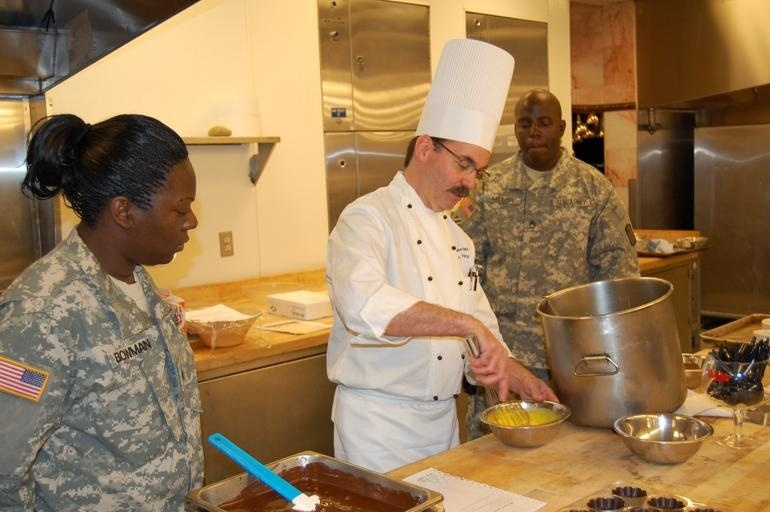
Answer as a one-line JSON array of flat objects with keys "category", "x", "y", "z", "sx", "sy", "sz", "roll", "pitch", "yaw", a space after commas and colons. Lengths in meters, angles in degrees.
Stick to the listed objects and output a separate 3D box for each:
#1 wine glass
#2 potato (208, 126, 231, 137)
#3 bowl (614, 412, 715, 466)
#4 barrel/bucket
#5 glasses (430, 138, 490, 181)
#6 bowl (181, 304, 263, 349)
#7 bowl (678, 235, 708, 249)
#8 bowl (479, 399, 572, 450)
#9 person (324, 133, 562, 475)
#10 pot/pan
[{"category": "wine glass", "x": 1.089, "y": 0.449, "z": 1.803, "sx": 0.167, "sy": 0.247, "sz": 0.174, "roll": 2, "pitch": 15, "yaw": 9}, {"category": "potato", "x": -0.944, "y": -0.701, "z": 3.338, "sx": 0.124, "sy": 0.055, "sz": 0.069, "roll": 3, "pitch": -14, "yaw": 8}, {"category": "bowl", "x": 0.818, "y": 0.543, "z": 1.724, "sx": 0.272, "sy": 0.084, "sz": 0.260, "roll": -6, "pitch": 2, "yaw": 0}, {"category": "barrel/bucket", "x": 0.796, "y": 0.331, "z": 2.014, "sx": 0.484, "sy": 0.371, "sz": 0.438, "roll": -17, "pitch": 6, "yaw": -33}, {"category": "glasses", "x": 0.229, "y": -0.358, "z": 2.027, "sx": 0.055, "sy": 0.177, "sz": 0.176, "roll": -47, "pitch": -22, "yaw": 13}, {"category": "bowl", "x": -0.811, "y": 0.379, "z": 2.912, "sx": 0.370, "sy": 0.126, "sz": 0.400, "roll": -3, "pitch": -5, "yaw": 0}, {"category": "bowl", "x": 2.517, "y": -0.116, "z": 4.808, "sx": 0.142, "sy": 0.060, "sz": 0.161, "roll": -1, "pitch": -5, "yaw": 9}, {"category": "bowl", "x": 0.456, "y": 0.542, "z": 1.863, "sx": 0.275, "sy": 0.084, "sz": 0.259, "roll": -7, "pitch": 2, "yaw": 0}, {"category": "person", "x": 0.177, "y": 0.171, "z": 1.991, "sx": 0.729, "sy": 1.127, "sz": 0.673, "roll": -5, "pitch": 16, "yaw": -17}, {"category": "pot/pan", "x": 0.769, "y": 0.346, "z": 2.024, "sx": 0.457, "sy": 0.371, "sz": 0.443, "roll": -12, "pitch": 0, "yaw": -31}]
